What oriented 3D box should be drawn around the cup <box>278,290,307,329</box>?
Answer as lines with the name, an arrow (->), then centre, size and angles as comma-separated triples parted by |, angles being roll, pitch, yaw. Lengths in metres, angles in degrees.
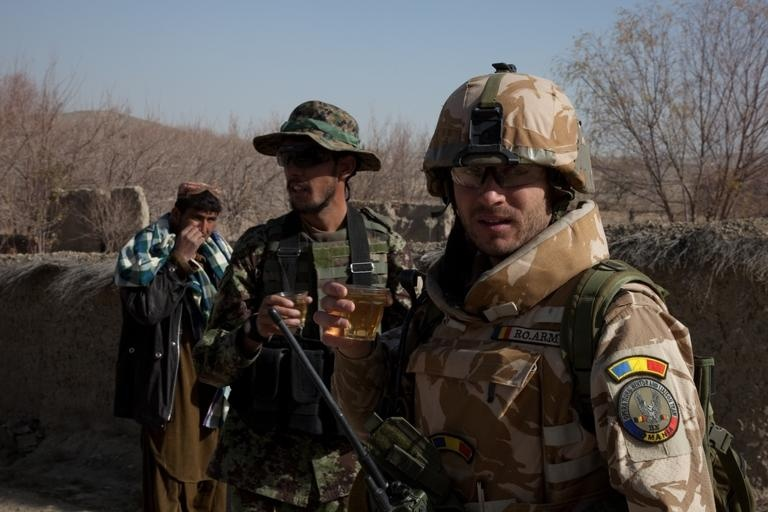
cup -> -0.532, 0.320, 4.870 | 0.109, 0.210, 0.218 | -4, -7, 40

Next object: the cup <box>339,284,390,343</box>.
cup -> -0.104, 0.325, 4.482 | 0.317, 0.303, 0.301 | 6, -10, 1
